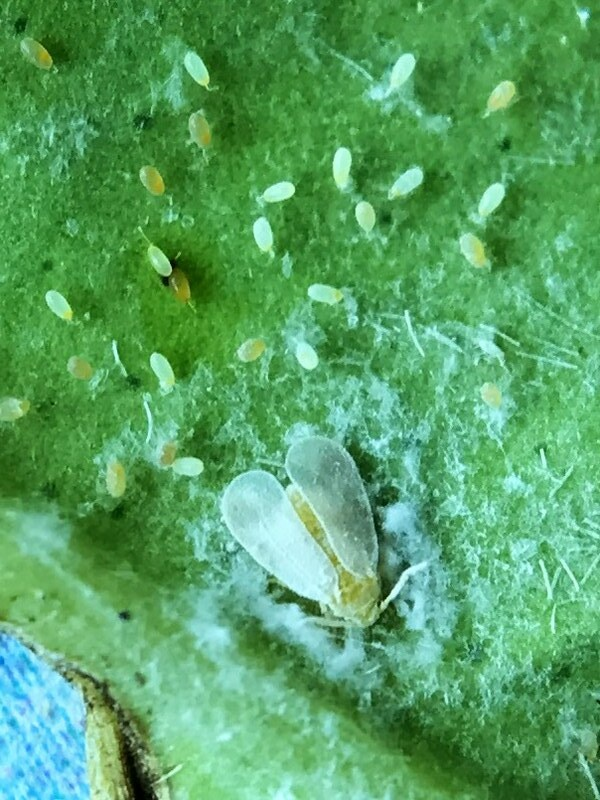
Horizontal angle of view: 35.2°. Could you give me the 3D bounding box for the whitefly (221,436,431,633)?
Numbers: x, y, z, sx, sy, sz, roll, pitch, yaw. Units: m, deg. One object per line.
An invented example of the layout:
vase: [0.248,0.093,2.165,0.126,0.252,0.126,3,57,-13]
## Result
whitefly: [0.105,0.648,4.797,1.084,0.292,0.724,40,84,4]
